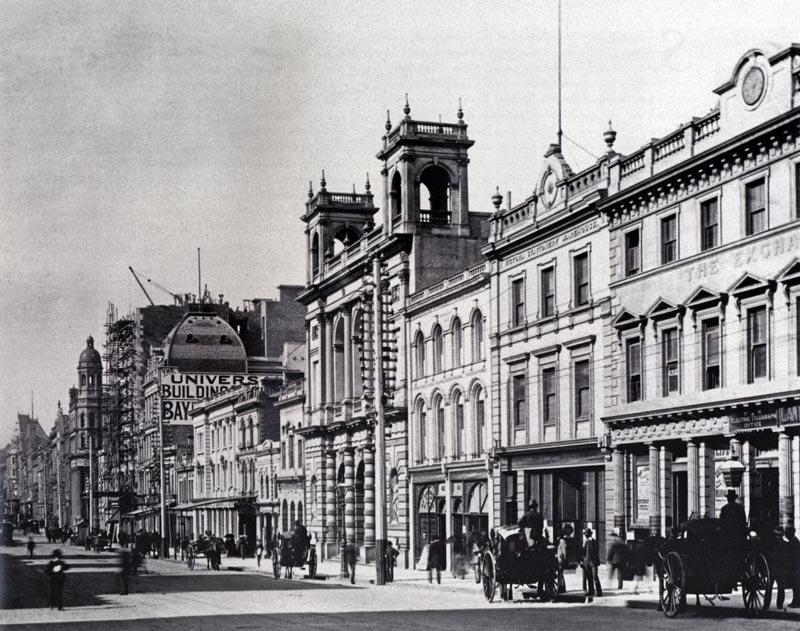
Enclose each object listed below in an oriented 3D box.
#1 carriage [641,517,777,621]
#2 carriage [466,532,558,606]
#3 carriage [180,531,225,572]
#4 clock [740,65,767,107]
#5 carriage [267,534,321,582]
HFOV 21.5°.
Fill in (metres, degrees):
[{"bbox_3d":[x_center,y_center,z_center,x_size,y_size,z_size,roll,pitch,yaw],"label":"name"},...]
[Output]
[{"bbox_3d":[9.652,7.675,64.435,2.865,3.241,2.703,-7,-9,11],"label":"carriage"},{"bbox_3d":[3.820,8.360,70.548,1.791,1.596,2.806,1,-5,-6],"label":"carriage"},{"bbox_3d":[-9.333,11.447,100.612,1.379,1.388,3.290,2,-10,-22],"label":"carriage"},{"bbox_3d":[12.214,-7.625,72.763,0.071,1.374,1.368,4,-10,-20],"label":"clock"},{"bbox_3d":[-4.390,10.024,86.638,1.512,1.833,2.729,5,-4,-14],"label":"carriage"}]
